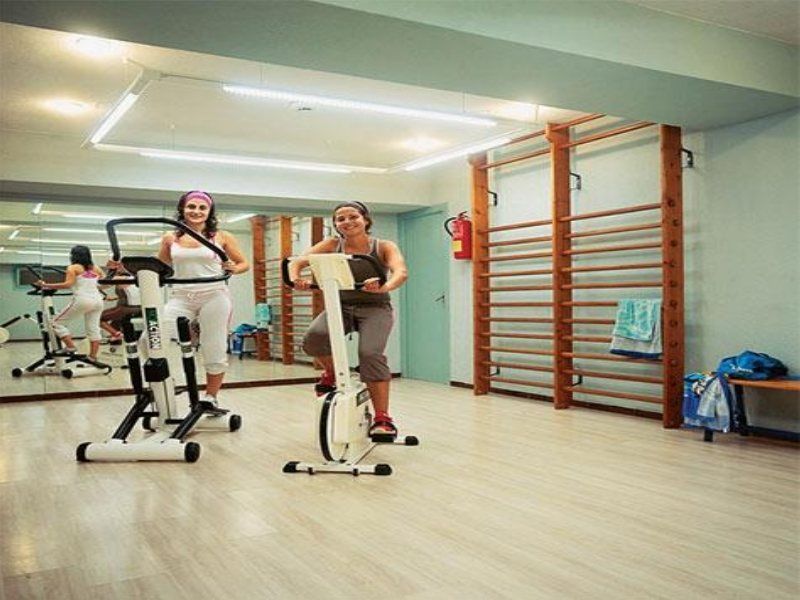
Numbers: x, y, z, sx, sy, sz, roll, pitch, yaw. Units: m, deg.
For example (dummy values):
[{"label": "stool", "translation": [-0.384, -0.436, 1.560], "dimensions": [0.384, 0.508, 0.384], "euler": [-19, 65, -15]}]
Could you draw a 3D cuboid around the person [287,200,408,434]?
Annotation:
[{"label": "person", "translation": [-0.335, 0.172, 3.832], "dimensions": [0.738, 1.641, 0.853], "euler": [-1, 2, -6]}]

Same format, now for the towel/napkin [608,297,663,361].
[{"label": "towel/napkin", "translation": [2.045, 0.260, 4.989], "dimensions": [0.205, 0.543, 0.523], "euler": [10, -9, -28]}]

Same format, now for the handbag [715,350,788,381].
[{"label": "handbag", "translation": [2.602, 0.503, 4.361], "dimensions": [0.262, 0.114, 0.325], "euler": [1, -2, 4]}]

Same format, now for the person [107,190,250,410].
[{"label": "person", "translation": [-1.480, 0.022, 4.381], "dimensions": [0.632, 1.810, 1.135], "euler": [-1, 2, -23]}]

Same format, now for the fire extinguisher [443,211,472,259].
[{"label": "fire extinguisher", "translation": [0.733, -0.796, 7.175], "dimensions": [0.363, 0.583, 0.252], "euler": [1, 3, 28]}]

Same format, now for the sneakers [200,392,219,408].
[{"label": "sneakers", "translation": [-1.472, 0.776, 4.428], "dimensions": [0.069, 0.077, 0.184], "euler": [1, -27, -5]}]

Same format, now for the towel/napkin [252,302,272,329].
[{"label": "towel/napkin", "translation": [-1.854, 0.219, 7.677], "dimensions": [0.351, 0.465, 0.106], "euler": [0, -7, -11]}]

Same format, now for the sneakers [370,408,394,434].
[{"label": "sneakers", "translation": [-0.134, 0.825, 3.894], "dimensions": [0.133, 0.139, 0.329], "euler": [0, -15, -1]}]

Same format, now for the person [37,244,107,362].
[{"label": "person", "translation": [-3.639, 0.031, 6.456], "dimensions": [0.582, 1.287, 0.214], "euler": [-2, 3, -31]}]
